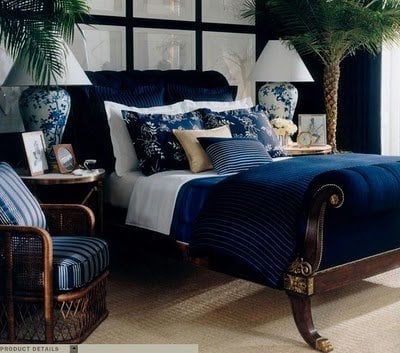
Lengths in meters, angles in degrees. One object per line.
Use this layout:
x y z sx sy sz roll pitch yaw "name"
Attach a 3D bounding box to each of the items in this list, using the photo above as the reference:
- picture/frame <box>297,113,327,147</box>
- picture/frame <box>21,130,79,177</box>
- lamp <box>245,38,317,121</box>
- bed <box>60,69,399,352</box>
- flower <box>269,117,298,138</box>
1.379 -0.550 4.720 0.475 0.580 0.039 1 -22 1 "picture/frame"
-1.239 -0.175 3.101 0.148 0.378 0.393 -2 6 25 "picture/frame"
1.008 -1.167 4.878 0.710 1.092 0.729 -4 26 -5 "lamp"
0.023 0.149 2.670 2.057 1.420 1.837 0 3 29 "bed"
0.968 -0.554 4.434 0.231 0.159 0.237 11 6 18 "flower"
